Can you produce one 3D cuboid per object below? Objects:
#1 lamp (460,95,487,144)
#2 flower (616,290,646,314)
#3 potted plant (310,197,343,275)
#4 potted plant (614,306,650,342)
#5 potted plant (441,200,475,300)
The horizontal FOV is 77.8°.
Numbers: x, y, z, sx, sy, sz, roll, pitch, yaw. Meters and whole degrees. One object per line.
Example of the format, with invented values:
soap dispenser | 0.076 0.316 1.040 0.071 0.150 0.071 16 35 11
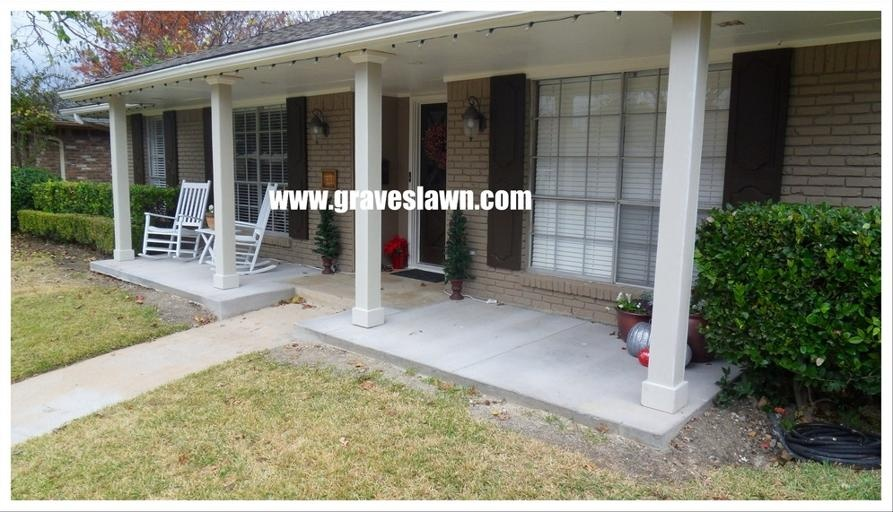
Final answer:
lamp | 0.398 -2.215 8.887 0.422 0.679 0.253 8 13 37
flower | 2.487 0.641 7.366 0.295 0.155 0.318 13 12 21
potted plant | -2.264 -0.282 10.635 0.475 1.202 0.463 -6 12 -31
potted plant | 2.383 0.896 7.295 0.429 0.287 0.415 5 3 -19
potted plant | 0.165 -0.028 9.105 0.441 1.432 0.390 -6 12 -28
